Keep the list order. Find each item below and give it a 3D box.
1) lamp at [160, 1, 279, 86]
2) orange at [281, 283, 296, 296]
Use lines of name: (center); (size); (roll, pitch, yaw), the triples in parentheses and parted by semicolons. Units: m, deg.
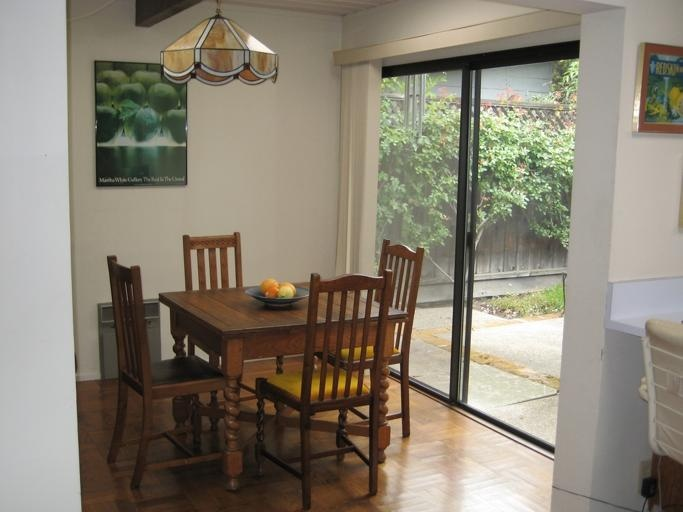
lamp: (-0.640, -0.984, 2.944); (0.515, 0.587, 0.523); (-4, 8, -28)
orange: (-0.306, 0.199, 3.234); (0.066, 0.072, 0.069); (-2, -7, -28)
